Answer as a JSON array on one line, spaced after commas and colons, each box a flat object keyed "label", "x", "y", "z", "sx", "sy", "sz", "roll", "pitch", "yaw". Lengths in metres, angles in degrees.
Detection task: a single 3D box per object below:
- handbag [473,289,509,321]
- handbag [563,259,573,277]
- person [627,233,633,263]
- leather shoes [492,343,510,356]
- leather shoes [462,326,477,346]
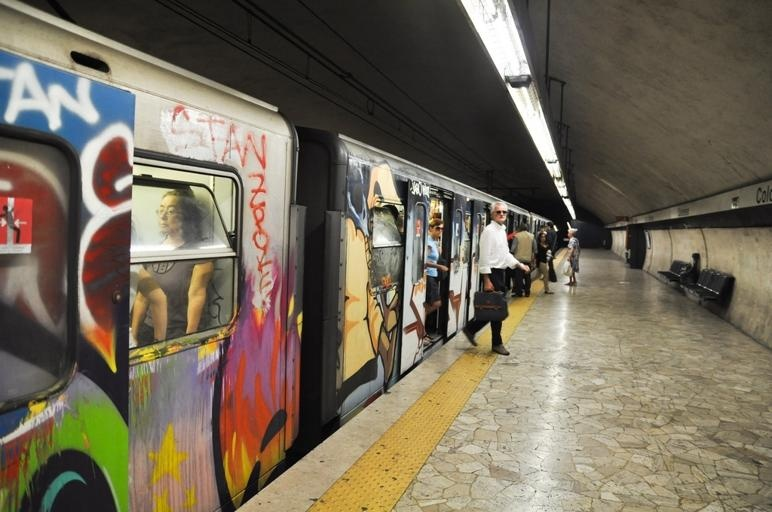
[{"label": "handbag", "x": 1.757, "y": 0.769, "z": 7.480, "sx": 0.621, "sy": 0.631, "sz": 0.431, "roll": 0, "pitch": -4, "yaw": 5}, {"label": "handbag", "x": 6.451, "y": 0.431, "z": 15.969, "sx": 0.266, "sy": 0.691, "sz": 1.177, "roll": 5, "pitch": 8, "yaw": 22}, {"label": "person", "x": 12.796, "y": -0.347, "z": 23.927, "sx": 0.239, "sy": 1.589, "sz": 0.753, "roll": 6, "pitch": 8, "yaw": 28}, {"label": "leather shoes", "x": 1.902, "y": 1.572, "z": 7.640, "sx": 0.122, "sy": 0.162, "sz": 0.360, "roll": 1, "pitch": -7, "yaw": -26}, {"label": "leather shoes", "x": 1.494, "y": 1.437, "z": 8.081, "sx": 0.178, "sy": 0.412, "sz": 0.138, "roll": -18, "pitch": 20, "yaw": 6}]
